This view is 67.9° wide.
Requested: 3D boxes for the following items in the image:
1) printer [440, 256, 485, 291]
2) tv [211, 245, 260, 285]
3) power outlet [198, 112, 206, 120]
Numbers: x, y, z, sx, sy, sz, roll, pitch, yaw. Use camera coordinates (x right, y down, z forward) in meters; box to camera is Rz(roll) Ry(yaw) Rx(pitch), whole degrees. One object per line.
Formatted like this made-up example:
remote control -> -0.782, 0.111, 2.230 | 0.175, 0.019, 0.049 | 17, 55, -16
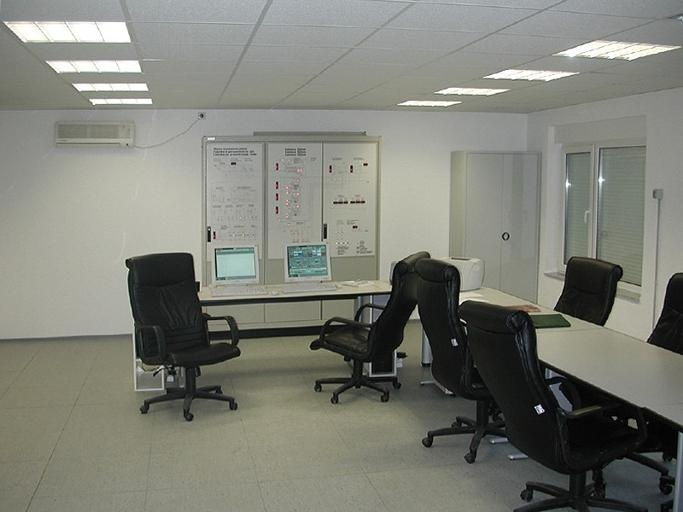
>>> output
printer -> 1.436, 0.194, 5.906 | 0.414, 0.427, 0.559 | -2, 3, -24
tv -> -1.281, 0.112, 6.226 | 0.720, 0.604, 0.393 | 0, 1, -18
power outlet -> -2.027, -2.021, 7.358 | 0.118, 0.117, 0.039 | 0, 5, -8
